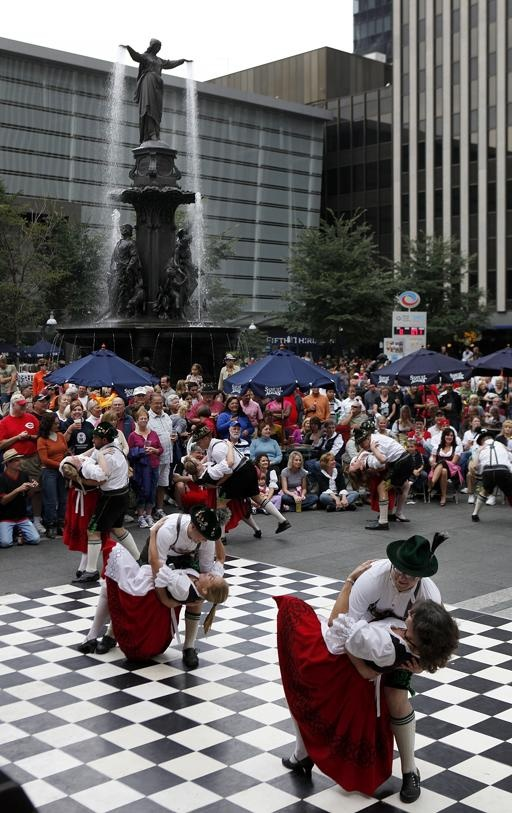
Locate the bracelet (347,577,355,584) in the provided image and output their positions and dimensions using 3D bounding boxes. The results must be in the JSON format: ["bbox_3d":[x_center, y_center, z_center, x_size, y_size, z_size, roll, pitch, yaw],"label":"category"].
[{"bbox_3d":[0.475,0.878,3.730,0.024,0.012,0.031,-1,35,-5],"label":"bracelet"}]

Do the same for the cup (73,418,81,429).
[{"bbox_3d":[-2.647,0.270,10.975,0.119,0.151,0.126,-1,5,0],"label":"cup"}]

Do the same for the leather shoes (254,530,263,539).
[{"bbox_3d":[0.030,1.892,10.973,0.057,0.113,0.166,1,3,-34],"label":"leather shoes"}]

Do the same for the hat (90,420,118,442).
[{"bbox_3d":[-1.632,0.285,7.992,0.245,0.230,0.286,0,0,-12],"label":"hat"}]

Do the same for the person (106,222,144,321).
[{"bbox_3d":[-4.338,-4.433,24.555,1.327,3.066,0.500,0,0,27],"label":"person"}]

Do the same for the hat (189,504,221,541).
[{"bbox_3d":[-0.351,0.826,5.130,0.192,0.251,0.234,0,0,-5],"label":"hat"}]

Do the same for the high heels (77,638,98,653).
[{"bbox_3d":[-1.360,1.957,6.036,0.080,0.075,0.158,1,-2,-36],"label":"high heels"}]

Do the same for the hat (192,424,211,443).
[{"bbox_3d":[-0.708,0.359,9.567,0.224,0.239,0.310,0,0,7],"label":"hat"}]

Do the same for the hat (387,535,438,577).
[{"bbox_3d":[0.711,0.695,3.380,0.225,0.225,0.233,0,0,1],"label":"hat"}]

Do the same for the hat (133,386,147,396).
[{"bbox_3d":[-1.971,-0.256,12.638,0.172,0.097,0.267,1,0,-11],"label":"hat"}]

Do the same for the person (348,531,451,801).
[{"bbox_3d":[0.675,1.252,3.608,0.451,1.317,0.378,8,14,33],"label":"person"}]

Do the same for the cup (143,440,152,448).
[{"bbox_3d":[-1.657,0.589,11.310,0.082,0.133,0.084,0,-8,0],"label":"cup"}]

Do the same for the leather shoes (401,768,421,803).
[{"bbox_3d":[0.757,1.880,3.668,0.065,0.068,0.178,-5,4,14],"label":"leather shoes"}]

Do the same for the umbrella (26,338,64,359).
[{"bbox_3d":[-9.593,-2.542,33.159,2.073,0.899,2.233,0,3,-4],"label":"umbrella"}]

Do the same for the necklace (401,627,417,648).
[{"bbox_3d":[0.680,1.029,3.289,0.023,0.076,0.074,-14,20,-2],"label":"necklace"}]

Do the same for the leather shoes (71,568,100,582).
[{"bbox_3d":[-1.940,1.906,8.336,0.350,0.147,0.118,3,-2,-4],"label":"leather shoes"}]

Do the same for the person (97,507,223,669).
[{"bbox_3d":[-0.609,1.366,5.472,0.639,1.330,1.278,0,0,-36],"label":"person"}]
